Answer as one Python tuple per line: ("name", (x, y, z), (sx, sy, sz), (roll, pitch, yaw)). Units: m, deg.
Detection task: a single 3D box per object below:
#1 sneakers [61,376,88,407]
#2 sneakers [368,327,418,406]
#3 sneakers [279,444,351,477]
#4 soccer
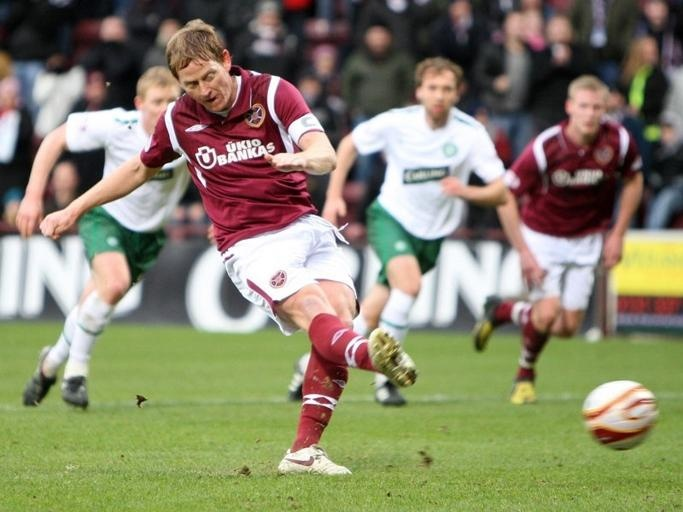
("sneakers", (-2.057, 1.070, 8.017), (0.211, 0.168, 0.219), (3, -32, 46))
("sneakers", (0.313, 0.601, 5.930), (0.360, 0.207, 0.199), (46, 28, 2))
("sneakers", (-0.189, 1.265, 6.399), (0.496, 0.218, 0.173), (2, -16, 1))
("soccer", (1.802, 0.957, 6.576), (0.477, 0.425, 0.427), (-1, 8, 15))
